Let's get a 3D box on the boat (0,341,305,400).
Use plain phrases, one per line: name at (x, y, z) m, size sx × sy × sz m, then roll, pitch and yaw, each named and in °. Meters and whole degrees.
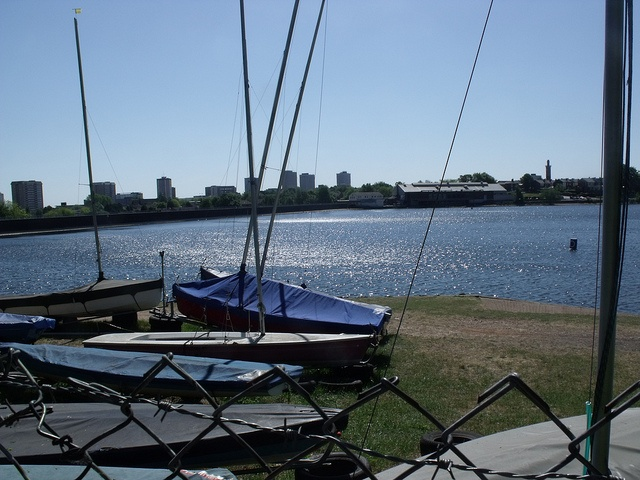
boat at (-3.020, 2.343, 11.490) m, size 5.031 × 0.843 × 1.013 m, roll 4°, pitch 5°, yaw 16°
